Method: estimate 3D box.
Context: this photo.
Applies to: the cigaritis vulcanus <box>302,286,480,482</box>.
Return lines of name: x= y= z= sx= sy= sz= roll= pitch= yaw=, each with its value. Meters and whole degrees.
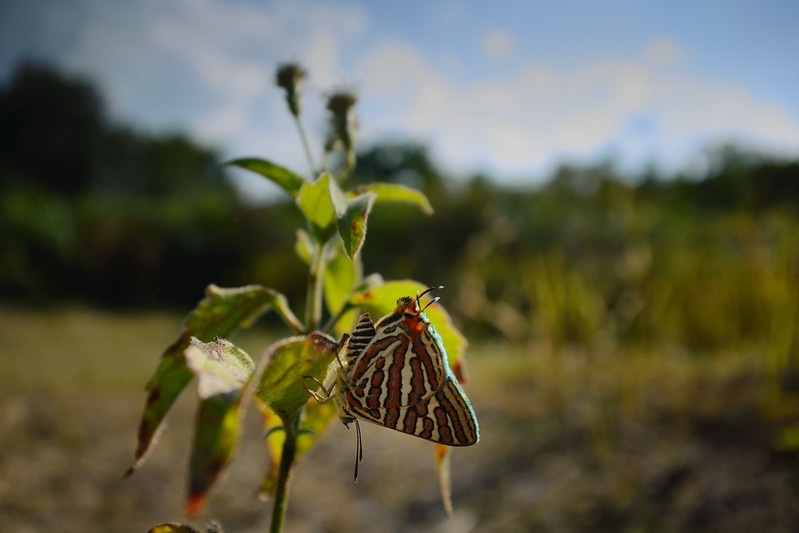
cigaritis vulcanus: x=0.007 y=0.234 z=2.385 sx=0.442 sy=0.379 sz=0.110 roll=19 pitch=14 yaw=0

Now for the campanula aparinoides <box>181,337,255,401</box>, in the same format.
campanula aparinoides: x=-0.418 y=0.244 z=2.322 sx=0.170 sy=0.104 sz=0.145 roll=15 pitch=17 yaw=-17
